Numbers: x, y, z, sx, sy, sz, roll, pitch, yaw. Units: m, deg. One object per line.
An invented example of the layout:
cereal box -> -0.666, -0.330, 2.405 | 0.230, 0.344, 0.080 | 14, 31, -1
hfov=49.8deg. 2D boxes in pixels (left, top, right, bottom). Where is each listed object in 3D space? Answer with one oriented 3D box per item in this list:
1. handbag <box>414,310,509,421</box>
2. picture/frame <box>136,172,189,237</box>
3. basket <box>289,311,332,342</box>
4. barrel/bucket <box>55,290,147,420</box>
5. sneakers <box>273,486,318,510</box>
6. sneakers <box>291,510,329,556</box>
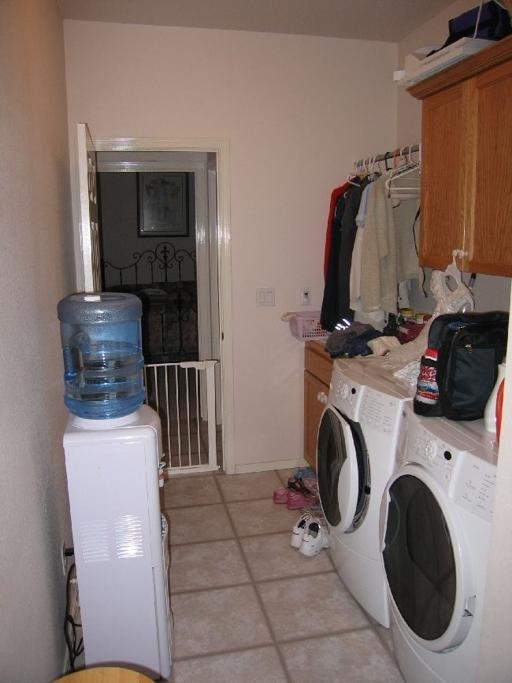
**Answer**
handbag -> 0.605, 0.077, 1.602 | 0.308, 0.291, 0.160 | 5, 13, 26
picture/frame -> -1.089, -1.625, 6.417 | 0.704, 0.845, 0.058 | 1, 28, -2
basket -> 0.314, -0.102, 3.409 | 0.174, 0.139, 0.201 | -1, 14, -6
barrel/bucket -> -0.509, 0.030, 1.815 | 0.266, 0.348, 0.462 | -3, 10, -13
sneakers -> 0.215, 0.881, 3.095 | 0.176, 0.103, 0.062 | -3, -10, 13
sneakers -> 0.251, 0.910, 2.600 | 0.133, 0.171, 0.067 | -6, -24, 31
